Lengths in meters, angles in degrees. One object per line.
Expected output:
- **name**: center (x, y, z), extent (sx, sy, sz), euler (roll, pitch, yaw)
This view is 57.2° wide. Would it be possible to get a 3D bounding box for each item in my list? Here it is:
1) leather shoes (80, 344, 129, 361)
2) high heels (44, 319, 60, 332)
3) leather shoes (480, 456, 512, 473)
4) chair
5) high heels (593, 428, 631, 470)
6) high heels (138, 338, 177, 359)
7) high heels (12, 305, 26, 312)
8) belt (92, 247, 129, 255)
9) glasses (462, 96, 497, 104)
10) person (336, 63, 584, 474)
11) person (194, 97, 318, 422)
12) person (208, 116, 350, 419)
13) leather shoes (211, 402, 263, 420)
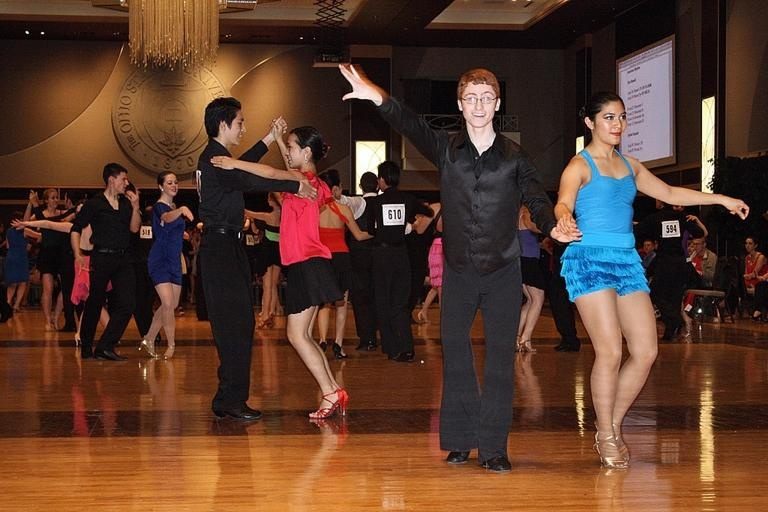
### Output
- **leather shoes**: center (-3.153, 1.059, 7.789), extent (0.602, 0.218, 0.200), euler (3, -3, 3)
- **high heels**: center (-4.949, 1.043, 10.495), extent (0.143, 0.166, 0.421), euler (1, -8, -10)
- **leather shoes**: center (0.683, 1.253, 4.241), extent (0.078, 0.071, 0.175), euler (4, -13, -34)
- **chair**: center (5.382, 0.557, 11.479), extent (1.002, 1.283, 1.078), euler (0, -2, 1)
- **high heels**: center (1.409, 1.193, 4.359), extent (0.143, 0.251, 0.104), euler (-16, -25, -13)
- **high heels**: center (-2.605, 1.062, 8.070), extent (0.449, 0.194, 0.148), euler (10, 2, -32)
- **high heels**: center (-6.971, 0.988, 13.386), extent (0.117, 0.152, 0.381), euler (4, 8, -2)
- **belt**: center (-2.951, -0.058, 7.575), extent (0.334, 0.058, 0.069), euler (2, -3, -21)
- **glasses**: center (0.569, -0.921, 4.164), extent (0.223, 0.065, 0.048), euler (1, -3, 3)
- **person**: center (0.505, 0.088, 4.173), extent (0.971, 2.375, 0.420), euler (1, -3, 3)
- **person**: center (-1.086, -0.003, 5.211), extent (0.684, 2.412, 0.458), euler (1, -3, -3)
- **person**: center (-0.848, 0.040, 5.517), extent (1.220, 2.363, 0.912), euler (2, 1, -4)
- **leather shoes**: center (-1.084, 1.143, 5.235), extent (0.371, 0.158, 0.136), euler (-1, -3, -4)
